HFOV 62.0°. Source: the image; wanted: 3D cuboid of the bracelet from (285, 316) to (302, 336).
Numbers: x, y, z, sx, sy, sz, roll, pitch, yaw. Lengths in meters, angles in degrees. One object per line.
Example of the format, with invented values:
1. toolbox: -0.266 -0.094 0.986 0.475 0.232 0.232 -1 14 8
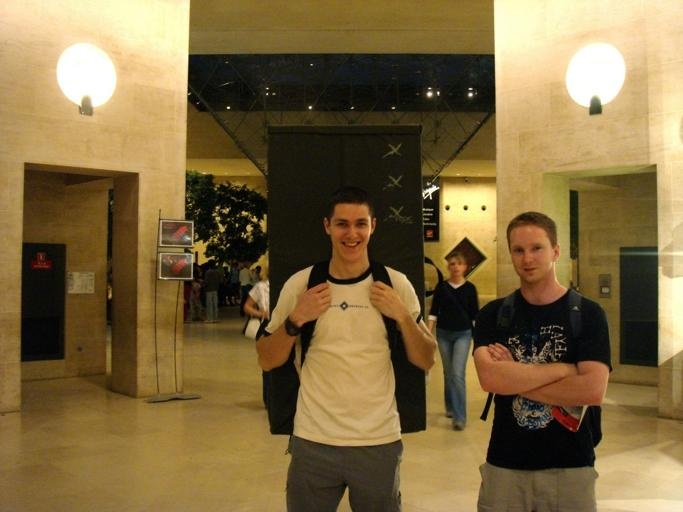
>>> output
1. bracelet: -0.263 0.367 2.982 0.072 0.093 0.067 -7 -18 -48

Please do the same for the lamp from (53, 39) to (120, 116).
1. lamp: -3.338 -2.308 7.427 0.815 0.840 0.202 7 4 -40

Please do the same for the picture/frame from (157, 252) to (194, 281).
1. picture/frame: -2.318 0.147 7.856 0.388 0.336 0.134 1 2 -12

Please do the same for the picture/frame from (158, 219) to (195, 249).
1. picture/frame: -2.330 -0.301 7.934 0.395 0.340 0.144 2 3 -18
